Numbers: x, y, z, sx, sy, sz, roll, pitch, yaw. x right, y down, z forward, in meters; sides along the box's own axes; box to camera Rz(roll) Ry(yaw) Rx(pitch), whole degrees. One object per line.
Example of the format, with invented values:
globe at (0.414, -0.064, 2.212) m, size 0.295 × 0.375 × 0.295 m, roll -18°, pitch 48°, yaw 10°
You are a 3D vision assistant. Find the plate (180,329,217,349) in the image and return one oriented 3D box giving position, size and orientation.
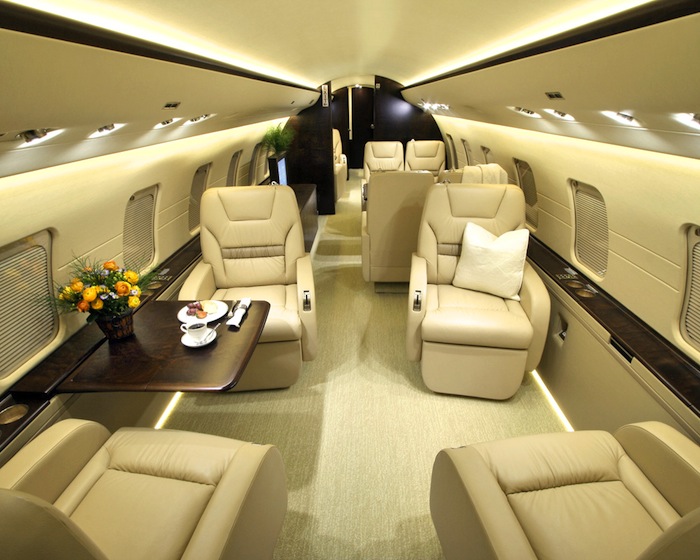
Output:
plate at (-0.857, 0.326, 2.382) m, size 0.131 × 0.058 × 0.120 m, roll 4°, pitch 12°, yaw 6°

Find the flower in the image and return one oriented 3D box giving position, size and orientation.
flower at (-1.388, 0.025, 2.408) m, size 0.437 × 0.297 × 0.410 m, roll -10°, pitch 6°, yaw 0°

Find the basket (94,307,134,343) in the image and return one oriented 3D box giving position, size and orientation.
basket at (-1.309, 0.262, 2.377) m, size 0.172 × 0.153 × 0.188 m, roll 6°, pitch 11°, yaw 38°

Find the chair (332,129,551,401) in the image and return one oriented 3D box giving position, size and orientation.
chair at (0.804, -0.245, 3.894) m, size 1.172 × 1.387 × 2.305 m, roll 1°, pitch 31°, yaw 4°

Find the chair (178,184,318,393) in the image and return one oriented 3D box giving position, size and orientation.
chair at (-0.755, 0.055, 3.276) m, size 0.876 × 1.323 × 1.188 m, roll -2°, pitch 24°, yaw -8°

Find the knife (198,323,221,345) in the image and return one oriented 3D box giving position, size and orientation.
knife at (-0.799, 0.313, 2.421) m, size 0.066 × 0.019 × 0.109 m, roll 3°, pitch 48°, yaw 0°

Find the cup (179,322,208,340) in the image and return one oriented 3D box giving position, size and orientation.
cup at (-0.887, 0.275, 2.408) m, size 0.114 × 0.089 × 0.093 m, roll -1°, pitch 20°, yaw -4°

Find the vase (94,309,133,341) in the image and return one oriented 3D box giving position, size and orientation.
vase at (-1.334, 0.239, 2.423) m, size 0.174 × 0.143 × 0.169 m, roll -4°, pitch 13°, yaw -19°
